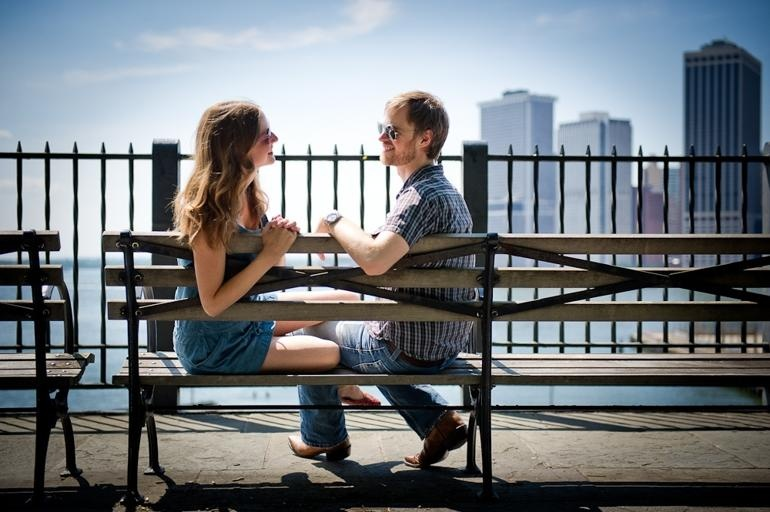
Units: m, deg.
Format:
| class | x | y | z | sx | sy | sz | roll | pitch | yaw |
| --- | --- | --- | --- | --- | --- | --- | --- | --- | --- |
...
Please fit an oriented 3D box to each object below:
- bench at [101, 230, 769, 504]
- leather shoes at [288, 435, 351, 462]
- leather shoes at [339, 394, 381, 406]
| class | x | y | z | sx | sy | sz | roll | pitch | yaw |
| --- | --- | --- | --- | --- | --- | --- | --- | --- | --- |
| bench | 0.472 | 0.894 | 8.948 | 5.396 | 2.084 | 0.864 | 0 | -10 | -1 |
| leather shoes | -0.556 | 1.599 | 9.383 | 0.616 | 0.229 | 0.186 | 5 | 1 | 10 |
| leather shoes | -0.211 | 1.193 | 9.225 | 0.253 | 0.070 | 0.129 | 4 | -10 | -4 |
